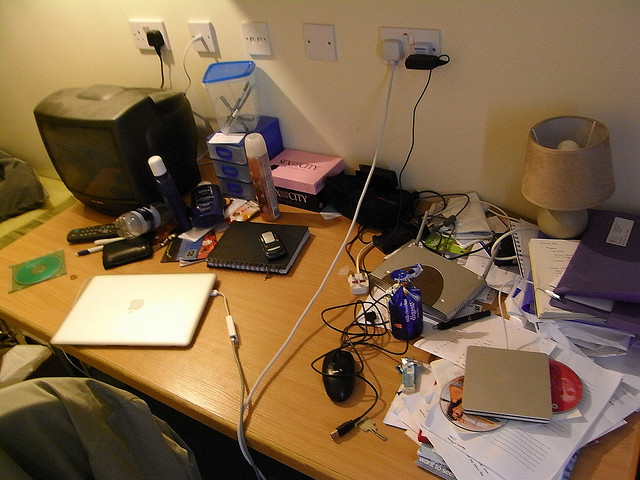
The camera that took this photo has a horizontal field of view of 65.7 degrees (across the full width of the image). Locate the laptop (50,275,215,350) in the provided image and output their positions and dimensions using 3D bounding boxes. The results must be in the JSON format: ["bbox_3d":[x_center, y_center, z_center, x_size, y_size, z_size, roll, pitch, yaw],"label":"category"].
[{"bbox_3d":[-0.486,0.179,1.311,0.367,0.052,0.226,2,37,7],"label":"laptop"}]

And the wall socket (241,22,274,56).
[{"bbox_3d":[-0.187,-0.617,1.503,0.089,0.101,0.014,12,45,20],"label":"wall socket"}]

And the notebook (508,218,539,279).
[{"bbox_3d":[0.531,0.027,1.296,0.088,0.023,0.208,26,55,0],"label":"notebook"}]

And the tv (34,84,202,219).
[{"bbox_3d":[-0.645,-0.319,1.671,0.393,0.384,0.391,8,36,17],"label":"tv"}]

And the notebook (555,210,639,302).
[{"bbox_3d":[0.686,0.043,1.179,0.160,0.065,0.317,20,42,28],"label":"notebook"}]

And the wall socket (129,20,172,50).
[{"bbox_3d":[-0.581,-0.691,1.673,0.143,0.103,0.019,11,39,18],"label":"wall socket"}]

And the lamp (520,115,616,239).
[{"bbox_3d":[0.617,-0.141,1.247,0.220,0.279,0.218,-11,34,7],"label":"lamp"}]

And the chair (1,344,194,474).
[{"bbox_3d":[-0.418,0.402,0.966,0.256,0.374,0.152,-15,38,-15],"label":"chair"}]

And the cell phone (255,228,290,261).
[{"bbox_3d":[-0.140,0.004,1.407,0.061,0.021,0.101,-24,52,-16],"label":"cell phone"}]

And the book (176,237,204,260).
[{"bbox_3d":[-0.385,0.025,1.468,0.068,0.024,0.088,-2,37,2],"label":"book"}]

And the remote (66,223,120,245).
[{"bbox_3d":[-0.693,-0.009,1.555,0.167,0.018,0.072,-14,46,-9],"label":"remote"}]

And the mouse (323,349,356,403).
[{"bbox_3d":[0.044,0.304,1.119,0.074,0.047,0.114,-1,37,3],"label":"mouse"}]

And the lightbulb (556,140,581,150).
[{"bbox_3d":[0.587,-0.225,1.173,0.034,0.022,0.040,0,-7,-28],"label":"lightbulb"}]

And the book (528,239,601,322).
[{"bbox_3d":[0.577,0.092,1.189,0.127,0.083,0.219,3,37,9],"label":"book"}]

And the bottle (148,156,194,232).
[{"bbox_3d":[-0.436,-0.137,1.474,0.080,0.248,0.080,-2,36,2],"label":"bottle"}]

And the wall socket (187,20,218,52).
[{"bbox_3d":[-0.381,-0.649,1.584,0.011,0.097,0.086,5,19,45],"label":"wall socket"}]

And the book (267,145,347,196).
[{"bbox_3d":[-0.052,-0.230,1.571,0.210,0.053,0.157,15,45,25],"label":"book"}]

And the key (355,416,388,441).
[{"bbox_3d":[0.105,0.394,1.044,0.030,0.005,0.058,-32,45,-25],"label":"key"}]
